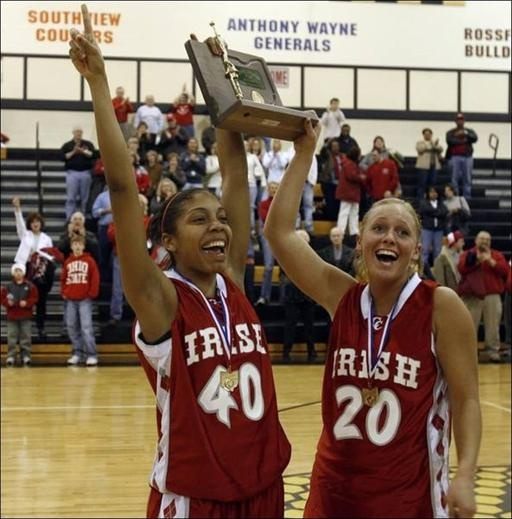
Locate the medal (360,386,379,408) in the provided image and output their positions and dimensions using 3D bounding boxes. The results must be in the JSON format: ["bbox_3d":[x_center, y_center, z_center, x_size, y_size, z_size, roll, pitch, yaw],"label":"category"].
[{"bbox_3d":[0.357,0.436,2.660,0.048,0.077,0.013,-1,-18,9],"label":"medal"}]

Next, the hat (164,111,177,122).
[{"bbox_3d":[-0.909,-1.508,8.921,0.097,0.119,0.172,-1,3,2],"label":"hat"}]

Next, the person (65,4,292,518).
[{"bbox_3d":[-0.216,0.018,2.605,0.655,1.519,0.359,1,4,2],"label":"person"}]

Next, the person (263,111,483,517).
[{"bbox_3d":[0.376,0.206,2.767,0.707,1.313,0.350,2,4,18],"label":"person"}]

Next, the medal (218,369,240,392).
[{"bbox_3d":[-0.085,0.370,2.556,0.049,0.080,0.010,5,-28,-10],"label":"medal"}]
